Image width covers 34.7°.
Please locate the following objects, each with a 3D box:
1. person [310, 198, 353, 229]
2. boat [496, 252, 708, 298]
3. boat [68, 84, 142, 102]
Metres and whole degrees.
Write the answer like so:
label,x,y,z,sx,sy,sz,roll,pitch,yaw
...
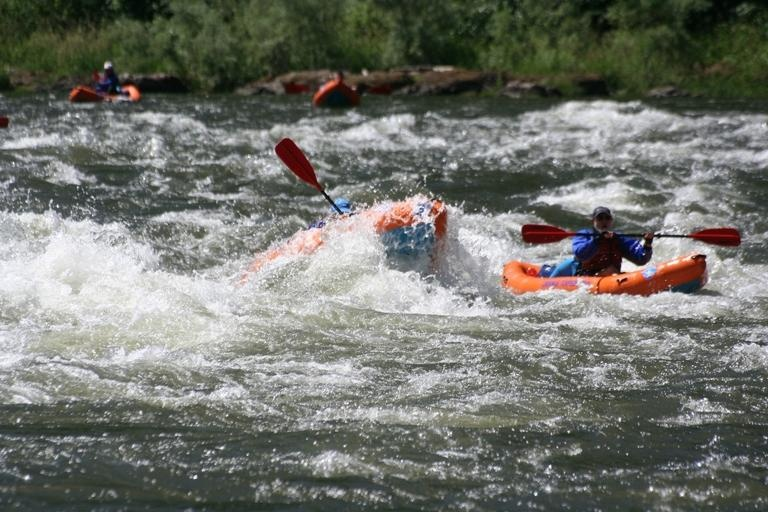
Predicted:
label,x,y,z,sx,sy,sz,roll,pitch,yaw
person,-0.871,-0.811,22.873,0.429,0.226,1.001,28,48,32
boat,3.985,0.432,22.079,2.845,0.534,1.306,-4,-2,20
boat,-7.156,-4.072,31.149,1.558,0.377,0.770,-2,7,-44
